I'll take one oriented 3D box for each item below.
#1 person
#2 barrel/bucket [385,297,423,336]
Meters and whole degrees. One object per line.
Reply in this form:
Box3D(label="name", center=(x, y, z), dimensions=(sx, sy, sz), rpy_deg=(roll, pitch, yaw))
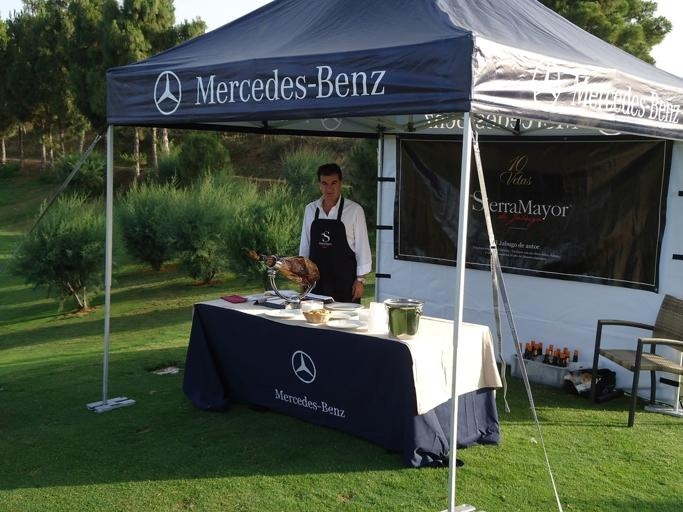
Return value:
Box3D(label="person", center=(-0.073, -0.245, 7.895), dimensions=(0.827, 1.582, 0.595), rpy_deg=(2, 4, -3))
Box3D(label="barrel/bucket", center=(0.580, 0.554, 6.428), dimensions=(0.262, 0.282, 0.308), rpy_deg=(0, 3, 4))
